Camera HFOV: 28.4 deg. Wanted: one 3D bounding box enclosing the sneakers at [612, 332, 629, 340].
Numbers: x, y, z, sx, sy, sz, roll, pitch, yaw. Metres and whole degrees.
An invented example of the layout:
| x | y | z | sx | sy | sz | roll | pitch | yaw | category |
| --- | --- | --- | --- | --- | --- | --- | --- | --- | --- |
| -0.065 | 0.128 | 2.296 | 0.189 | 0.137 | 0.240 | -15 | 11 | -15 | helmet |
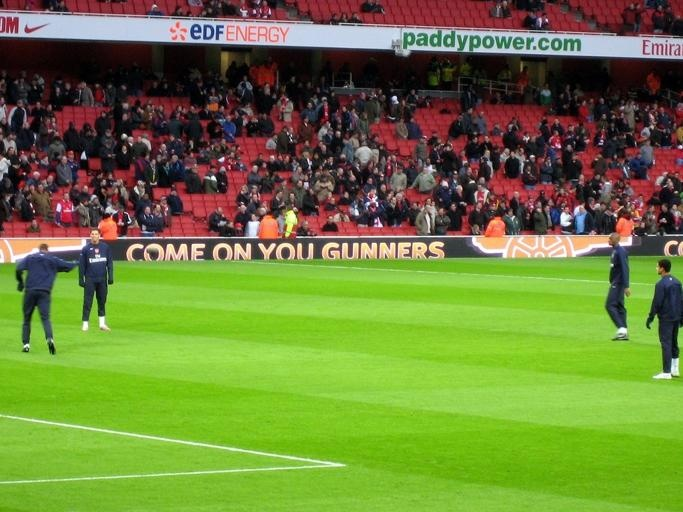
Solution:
| x | y | z | sx | sy | sz | roll | pitch | yaw | category |
| --- | --- | --- | --- | --- | --- | --- | --- | --- | --- |
| 5.808 | 1.701 | 27.895 | 0.336 | 0.155 | 0.118 | 2 | 3 | 4 | sneakers |

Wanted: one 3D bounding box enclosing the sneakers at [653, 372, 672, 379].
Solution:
| x | y | z | sx | sy | sz | roll | pitch | yaw | category |
| --- | --- | --- | --- | --- | --- | --- | --- | --- | --- |
| 5.970 | 2.247 | 24.927 | 0.360 | 0.153 | 0.126 | 2 | 2 | 6 | sneakers |

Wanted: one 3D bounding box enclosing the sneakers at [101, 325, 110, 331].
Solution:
| x | y | z | sx | sy | sz | roll | pitch | yaw | category |
| --- | --- | --- | --- | --- | --- | --- | --- | --- | --- |
| -4.948 | 1.534 | 28.099 | 0.091 | 0.109 | 0.242 | 0 | -2 | -39 | sneakers |

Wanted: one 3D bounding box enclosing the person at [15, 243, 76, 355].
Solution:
| x | y | z | sx | sy | sz | roll | pitch | yaw | category |
| --- | --- | --- | --- | --- | --- | --- | --- | --- | --- |
| -5.780 | 0.827 | 25.893 | 0.940 | 2.141 | 1.126 | -1 | 9 | -13 | person |

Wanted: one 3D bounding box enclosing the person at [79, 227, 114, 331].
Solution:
| x | y | z | sx | sy | sz | roll | pitch | yaw | category |
| --- | --- | --- | --- | --- | --- | --- | --- | --- | --- |
| -5.102 | 0.513 | 27.818 | 0.655 | 2.225 | 1.316 | -1 | 9 | -12 | person |

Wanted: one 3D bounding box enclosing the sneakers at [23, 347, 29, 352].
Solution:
| x | y | z | sx | sy | sz | roll | pitch | yaw | category |
| --- | --- | --- | --- | --- | --- | --- | --- | --- | --- |
| -6.077 | 1.832 | 25.902 | 0.078 | 0.124 | 0.116 | -2 | 0 | -43 | sneakers |

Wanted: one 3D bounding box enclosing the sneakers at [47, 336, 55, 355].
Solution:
| x | y | z | sx | sy | sz | roll | pitch | yaw | category |
| --- | --- | --- | --- | --- | --- | --- | --- | --- | --- |
| -5.525 | 1.747 | 25.628 | 0.126 | 0.374 | 0.160 | -6 | 18 | -21 | sneakers |
